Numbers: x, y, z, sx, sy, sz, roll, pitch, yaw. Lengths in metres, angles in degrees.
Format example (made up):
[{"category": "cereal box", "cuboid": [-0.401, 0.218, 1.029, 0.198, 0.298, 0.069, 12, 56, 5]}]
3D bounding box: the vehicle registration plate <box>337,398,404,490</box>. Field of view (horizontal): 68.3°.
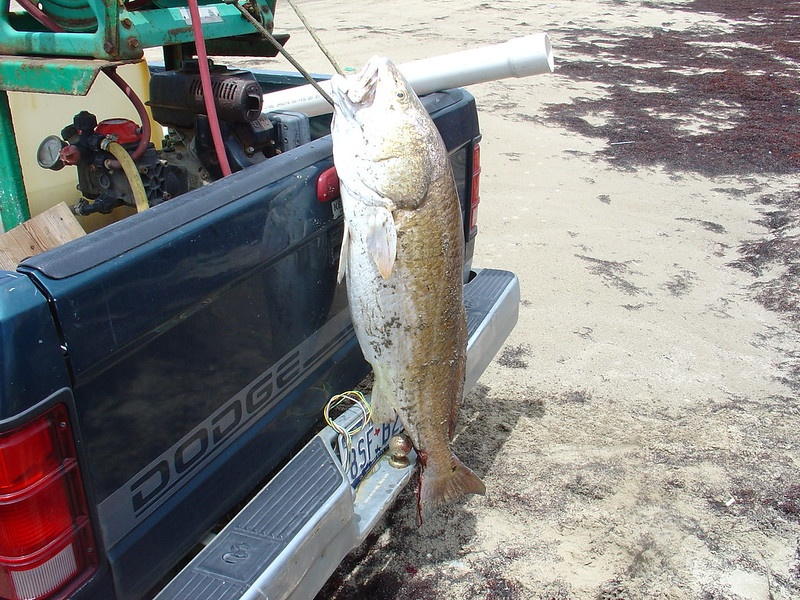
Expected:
[{"category": "vehicle registration plate", "cuboid": [-0.123, 0.598, 2.408, 0.046, 0.222, 0.332, 8, 31, 35]}]
